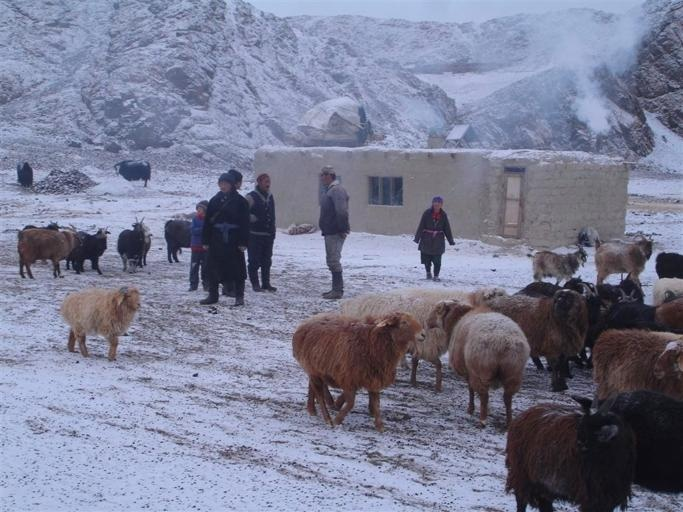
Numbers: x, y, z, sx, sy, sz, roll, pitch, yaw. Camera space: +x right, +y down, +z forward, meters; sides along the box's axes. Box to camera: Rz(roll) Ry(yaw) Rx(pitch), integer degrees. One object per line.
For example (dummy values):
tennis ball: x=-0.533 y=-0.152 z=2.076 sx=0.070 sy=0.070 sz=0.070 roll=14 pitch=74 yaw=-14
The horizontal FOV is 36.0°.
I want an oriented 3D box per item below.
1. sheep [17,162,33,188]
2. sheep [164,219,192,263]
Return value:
sheep: x=-21.037 y=-5.389 z=69.822 sx=0.955 sy=1.683 sz=1.457 roll=1 pitch=4 yaw=-19
sheep: x=-8.274 y=-0.740 z=53.367 sx=1.309 sy=2.183 sz=0.589 roll=4 pitch=4 yaw=16
